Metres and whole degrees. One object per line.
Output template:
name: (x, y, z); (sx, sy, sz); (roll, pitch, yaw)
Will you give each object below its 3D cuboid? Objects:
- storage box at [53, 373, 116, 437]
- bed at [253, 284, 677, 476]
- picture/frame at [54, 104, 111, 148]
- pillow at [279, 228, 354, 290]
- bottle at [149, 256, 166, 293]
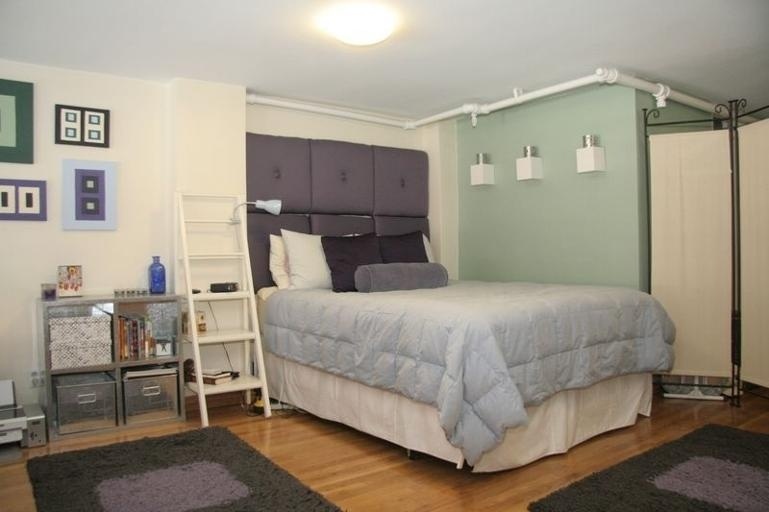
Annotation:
storage box: (-2.395, 1.138, 4.497); (0.476, 0.445, 0.463); (1, -2, -36)
bed: (0.295, 0.800, 4.195); (1.813, 0.615, 1.780); (3, -6, -39)
picture/frame: (-2.620, -1.114, 4.814); (0.399, 0.336, 0.019); (-1, 23, -35)
pillow: (-0.719, 0.027, 5.108); (0.388, 0.418, 0.380); (-5, 2, -14)
bottle: (-2.020, 0.170, 4.927); (0.158, 0.305, 0.334); (-6, 2, -23)
